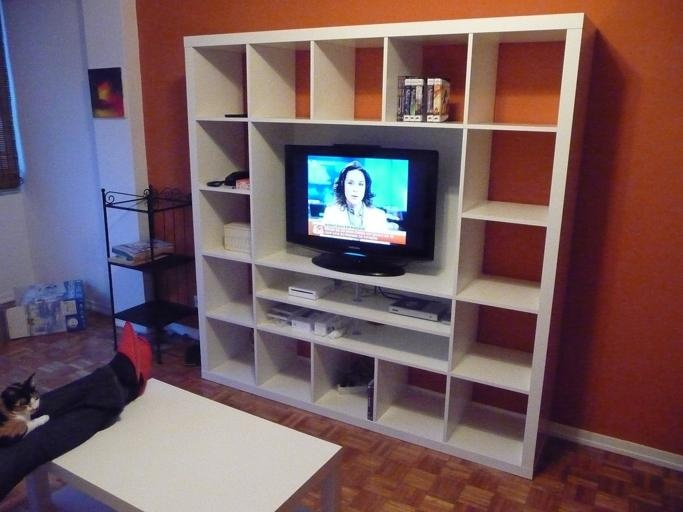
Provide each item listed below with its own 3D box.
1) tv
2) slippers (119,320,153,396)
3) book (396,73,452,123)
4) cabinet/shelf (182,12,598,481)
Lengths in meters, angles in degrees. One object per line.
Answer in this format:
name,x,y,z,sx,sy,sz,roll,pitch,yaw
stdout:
tv,0.167,-0.315,3.794,0.809,0.635,0.229,8,16,23
slippers,-1.197,0.565,3.287,0.153,0.495,0.195,-16,-17,26
book,0.484,-0.929,3.422,0.299,0.260,0.235,2,16,6
cabinet/shelf,0.397,-0.079,3.656,2.550,2.518,0.617,12,19,26
